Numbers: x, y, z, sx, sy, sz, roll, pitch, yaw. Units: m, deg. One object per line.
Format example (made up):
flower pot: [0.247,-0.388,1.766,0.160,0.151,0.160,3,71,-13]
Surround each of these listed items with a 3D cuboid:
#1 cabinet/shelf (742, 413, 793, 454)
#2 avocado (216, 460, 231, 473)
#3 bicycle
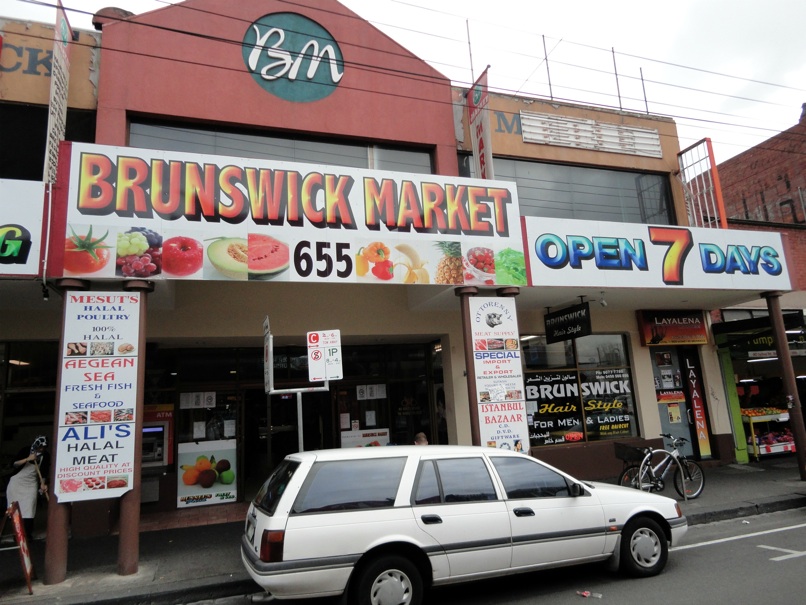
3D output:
cabinet/shelf: [10.595,3.841,17.032,1.484,1.126,0.932,-2,-6,-14]
avocado: [-4.368,3.938,13.983,0.329,0.273,0.275,-2,-23,-38]
bicycle: [5.640,3.697,12.669,1.897,1.241,0.903,-2,-8,-8]
